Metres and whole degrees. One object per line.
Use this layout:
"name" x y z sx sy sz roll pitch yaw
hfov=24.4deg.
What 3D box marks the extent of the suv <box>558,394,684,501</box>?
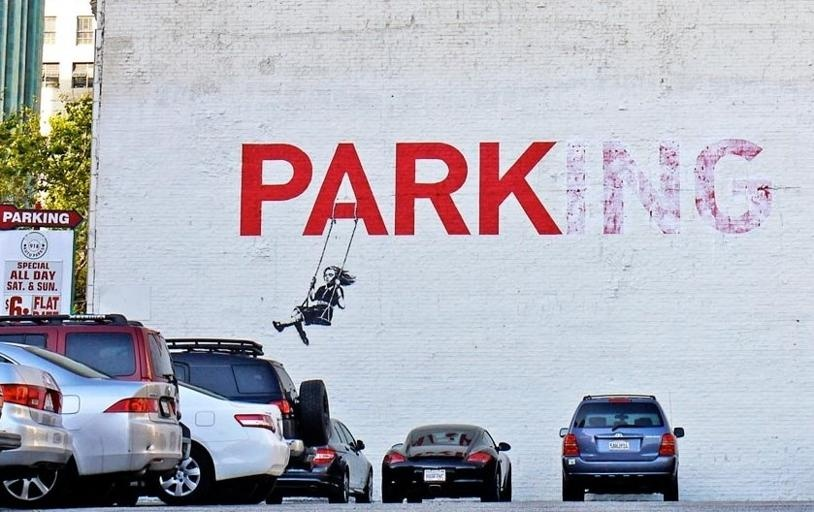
"suv" 6.742 4.786 51.328 3.677 2.435 5.780 -3 1 28
